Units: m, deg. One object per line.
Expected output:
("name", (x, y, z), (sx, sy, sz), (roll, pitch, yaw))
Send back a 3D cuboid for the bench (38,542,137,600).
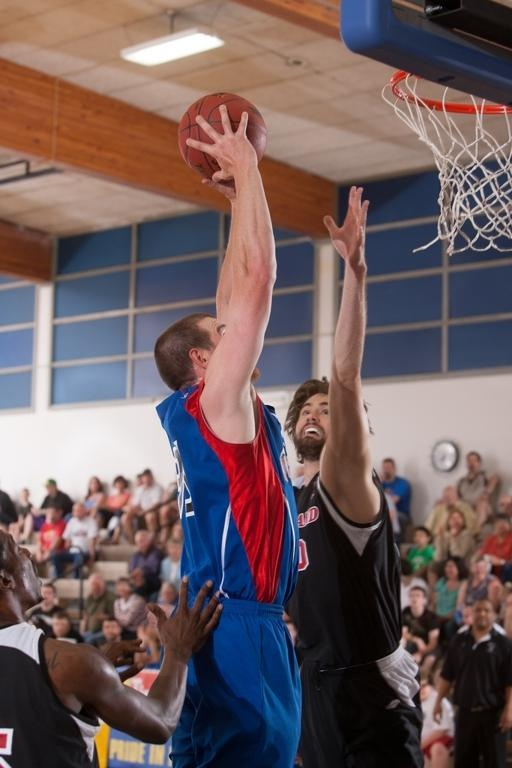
("bench", (-2.008, 2.220, 10.361), (0.527, 0.610, 1.131), (-1, 0, 30))
